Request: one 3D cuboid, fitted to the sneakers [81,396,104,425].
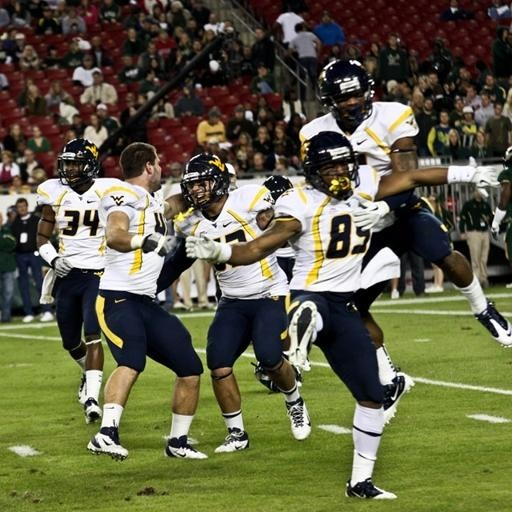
[{"bbox_3d":[-1.061,1.007,5.497,0.076,0.095,0.198,3,-28,-16],"label":"sneakers"}]

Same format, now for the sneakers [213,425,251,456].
[{"bbox_3d":[-0.121,1.010,4.665,0.091,0.108,0.231,-11,-18,35],"label":"sneakers"}]

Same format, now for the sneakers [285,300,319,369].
[{"bbox_3d":[0.201,0.334,3.599,0.114,0.313,0.136,2,-30,7],"label":"sneakers"}]

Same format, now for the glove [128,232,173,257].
[{"bbox_3d":[-0.525,-0.062,4.168,0.191,0.107,0.080,5,25,17],"label":"glove"}]

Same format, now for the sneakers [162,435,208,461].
[{"bbox_3d":[-0.392,1.025,4.589,0.278,0.125,0.091,2,0,5],"label":"sneakers"}]

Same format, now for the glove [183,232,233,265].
[{"bbox_3d":[-0.203,-0.029,3.651,0.197,0.121,0.230,0,4,3],"label":"glove"}]

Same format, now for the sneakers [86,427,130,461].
[{"bbox_3d":[-0.726,0.913,4.126,0.169,0.158,0.160,-2,5,-18],"label":"sneakers"}]

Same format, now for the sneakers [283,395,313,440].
[{"bbox_3d":[0.248,0.938,4.916,0.140,0.197,0.253,0,4,2],"label":"sneakers"}]

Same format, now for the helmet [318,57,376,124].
[{"bbox_3d":[0.499,-0.912,4.695,0.299,0.367,0.308,0,5,4],"label":"helmet"}]

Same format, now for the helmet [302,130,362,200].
[{"bbox_3d":[0.340,-0.445,3.961,0.263,0.303,0.318,-17,23,-25],"label":"helmet"}]

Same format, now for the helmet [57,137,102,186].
[{"bbox_3d":[-1.244,-0.665,5.900,0.269,0.297,0.343,1,0,13],"label":"helmet"}]

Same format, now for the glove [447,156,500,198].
[{"bbox_3d":[1.205,-0.448,4.691,0.265,0.189,0.119,1,-16,7],"label":"glove"}]

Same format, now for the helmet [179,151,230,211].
[{"bbox_3d":[-0.285,-0.419,4.690,0.265,0.315,0.235,-1,5,-5],"label":"helmet"}]

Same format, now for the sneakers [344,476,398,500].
[{"bbox_3d":[0.505,1.016,3.713,0.229,0.080,0.081,0,-7,6],"label":"sneakers"}]
